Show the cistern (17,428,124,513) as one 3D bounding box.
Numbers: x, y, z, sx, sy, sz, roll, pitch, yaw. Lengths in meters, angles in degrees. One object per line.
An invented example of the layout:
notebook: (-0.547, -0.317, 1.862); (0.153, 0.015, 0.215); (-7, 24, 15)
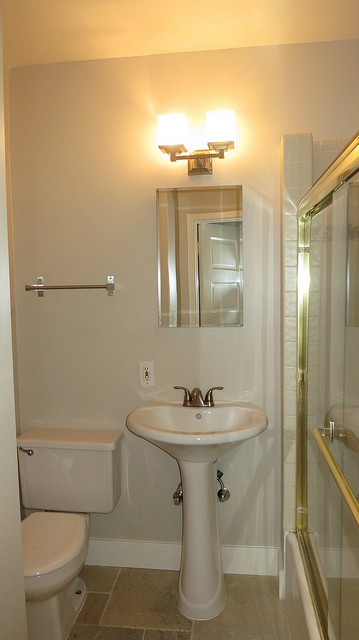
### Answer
cistern: (-0.488, 0.679, 2.054); (0.428, 0.369, 0.313); (0, -5, 5)

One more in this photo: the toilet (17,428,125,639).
toilet: (-0.475, 0.795, 1.933); (0.367, 0.766, 0.684); (-1, -9, 4)

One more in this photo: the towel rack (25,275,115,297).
towel rack: (-0.508, -0.157, 2.201); (0.289, 0.108, 0.176); (0, 3, -2)

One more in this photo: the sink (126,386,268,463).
sink: (0.075, 0.434, 1.887); (0.548, 0.255, 0.534); (-4, 11, 8)

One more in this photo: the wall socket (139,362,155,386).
wall socket: (-0.151, 0.252, 2.173); (0.073, 0.109, 0.024); (-5, 10, -3)

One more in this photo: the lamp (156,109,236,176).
lamp: (0.067, -0.768, 2.004); (0.333, 0.278, 0.190); (3, 2, 22)
